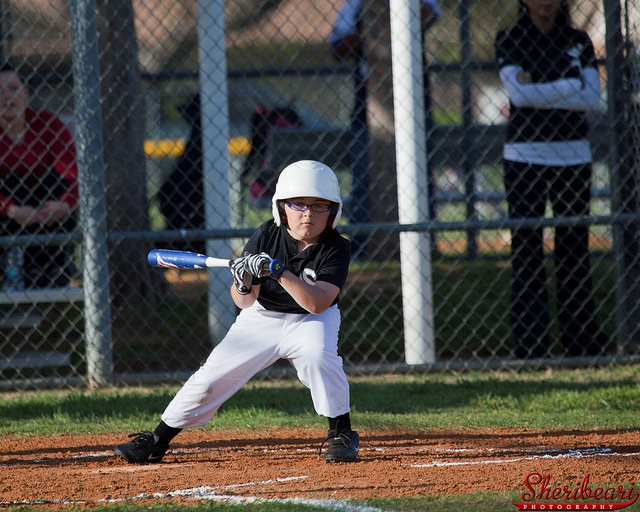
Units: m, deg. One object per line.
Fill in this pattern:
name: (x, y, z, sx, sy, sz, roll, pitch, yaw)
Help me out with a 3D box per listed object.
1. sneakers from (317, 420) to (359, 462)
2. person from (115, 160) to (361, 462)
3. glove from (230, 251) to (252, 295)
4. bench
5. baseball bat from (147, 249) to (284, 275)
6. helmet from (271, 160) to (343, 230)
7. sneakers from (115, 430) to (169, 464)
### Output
sneakers: (0.100, 0.984, 6.251, 0.125, 0.146, 0.289, -2, -12, 6)
person: (-0.521, 0.372, 7.092, 1.223, 1.883, 0.933, 4, -14, -8)
glove: (-0.409, 0.091, 6.147, 0.070, 0.187, 0.123, -6, 12, -36)
bench: (-1.523, 0.364, 7.252, 0.572, 0.818, 0.210, 3, 13, 18)
baseball bat: (-0.585, 0.031, 6.692, 0.669, 0.138, 0.130, 3, 17, 20)
helmet: (-0.065, -0.319, 6.230, 0.239, 0.299, 0.343, 3, -6, -1)
sneakers: (-0.927, 1.008, 6.293, 0.321, 0.193, 0.127, 12, 0, -6)
